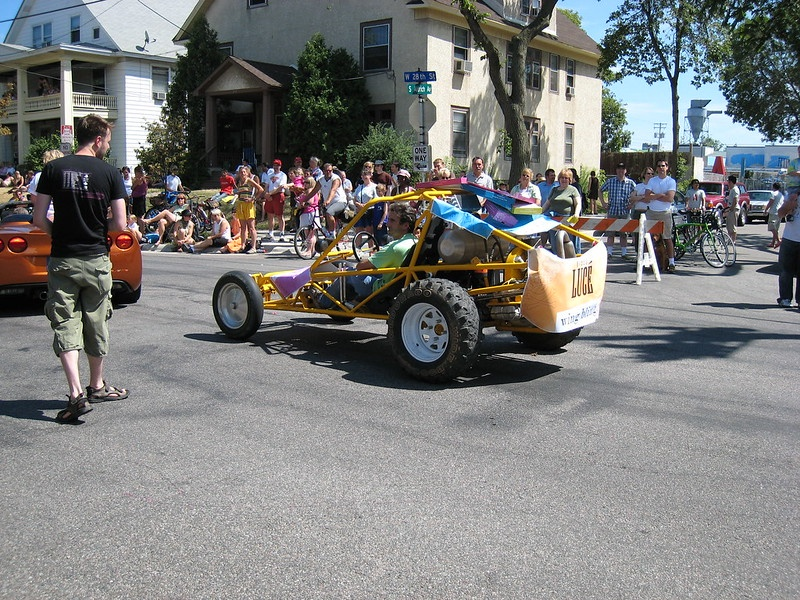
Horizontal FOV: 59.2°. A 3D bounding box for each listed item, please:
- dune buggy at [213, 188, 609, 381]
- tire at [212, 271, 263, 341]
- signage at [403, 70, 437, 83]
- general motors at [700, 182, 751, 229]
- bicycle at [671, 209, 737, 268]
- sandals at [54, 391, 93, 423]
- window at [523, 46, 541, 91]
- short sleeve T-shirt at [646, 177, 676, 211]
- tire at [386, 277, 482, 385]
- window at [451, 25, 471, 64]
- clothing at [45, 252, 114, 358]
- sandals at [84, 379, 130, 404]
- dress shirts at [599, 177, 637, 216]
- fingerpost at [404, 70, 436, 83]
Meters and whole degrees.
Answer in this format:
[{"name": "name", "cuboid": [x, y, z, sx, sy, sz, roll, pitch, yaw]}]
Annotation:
[{"name": "dune buggy", "cuboid": [0.235, -0.223, 7.810, 3.571, 1.863, 2.173, 5, 6, 37]}, {"name": "tire", "cuboid": [-1.927, 0.098, 8.441, 0.679, 0.866, 0.195, 5, 11, 41]}, {"name": "signage", "cuboid": [0.435, -4.918, 15.584, 0.641, 0.255, 0.534, 4, 12, 15]}, {"name": "general motors", "cuboid": [15.969, -4.846, 36.103, 3.720, 2.186, 2.459, -6, 10, -36]}, {"name": "bicycle", "cuboid": [7.116, -1.379, 16.387, 0.979, 1.422, 2.081, -7, 11, -35]}, {"name": "sandals", "cuboid": [-2.657, 0.891, 5.852, 0.369, 0.207, 0.167, -17, -2, 26]}, {"name": "window", "cuboid": [6.765, -11.629, 35.790, 0.368, 2.018, 1.410, 7, 12, 32]}, {"name": "short sleeve T-shirt", "cuboid": [5.486, -2.235, 14.991, 0.597, 0.802, 0.377, 2, 7, 18]}, {"name": "tire", "cuboid": [0.301, 0.325, 6.920, 0.921, 1.039, 0.303, 18, 16, 35]}, {"name": "window", "cuboid": [2.664, -11.240, 31.055, 0.300, 1.341, 1.294, 8, 13, 36]}, {"name": "clothing", "cuboid": [-2.686, 0.090, 5.955, 0.507, 0.892, 0.415, -5, 12, -28]}, {"name": "sandals", "cuboid": [-2.615, 0.815, 6.325, 0.299, 0.155, 0.164, -2, 4, -27]}, {"name": "dress shirts", "cuboid": [5.255, -2.407, 17.054, 0.838, 1.127, 0.328, 4, -11, 15]}, {"name": "fingerpost", "cuboid": [0.435, -4.918, 15.584, 0.641, 0.255, 0.534, 4, 12, 15]}]
